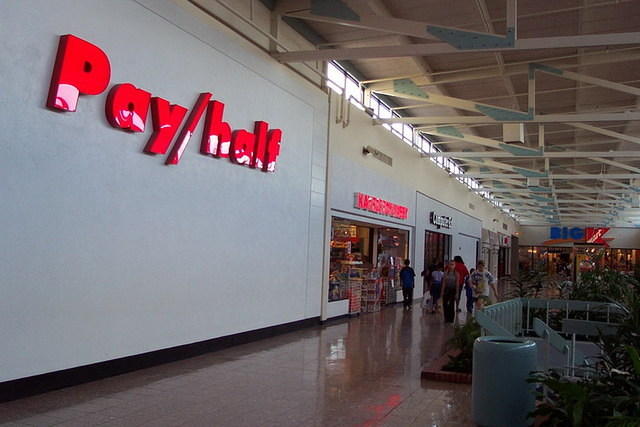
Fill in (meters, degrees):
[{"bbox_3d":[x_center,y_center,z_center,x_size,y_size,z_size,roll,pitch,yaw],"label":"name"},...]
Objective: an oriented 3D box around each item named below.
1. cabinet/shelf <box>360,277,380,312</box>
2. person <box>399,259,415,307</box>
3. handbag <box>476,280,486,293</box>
[{"bbox_3d":[1.548,2.577,14.168,0.556,1.026,1.085,0,-7,17],"label":"cabinet/shelf"},{"bbox_3d":[2.936,2.392,15.132,0.441,1.632,1.379,5,-5,10],"label":"person"},{"bbox_3d":[3.926,1.795,10.876,0.102,0.261,0.236,15,-6,-17],"label":"handbag"}]
